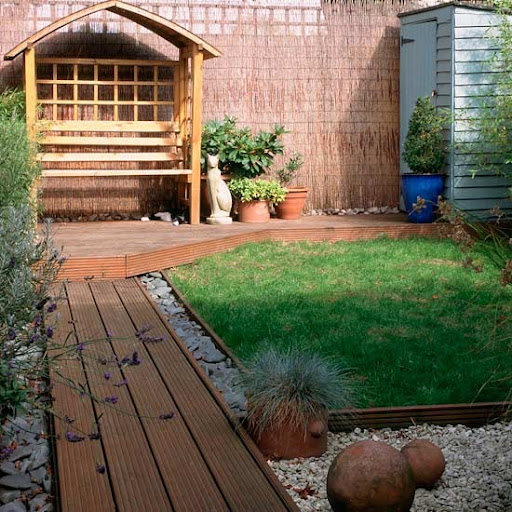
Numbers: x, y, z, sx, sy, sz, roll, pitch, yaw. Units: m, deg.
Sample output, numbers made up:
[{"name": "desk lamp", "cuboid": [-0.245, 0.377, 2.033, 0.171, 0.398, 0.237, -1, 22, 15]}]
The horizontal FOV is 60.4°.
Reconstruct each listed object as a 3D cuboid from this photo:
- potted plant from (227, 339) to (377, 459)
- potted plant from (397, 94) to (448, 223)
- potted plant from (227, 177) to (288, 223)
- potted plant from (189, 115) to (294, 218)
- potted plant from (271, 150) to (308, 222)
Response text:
[{"name": "potted plant", "cuboid": [0.195, 0.558, 1.774, 0.430, 0.396, 0.408, 1, -1, -9]}, {"name": "potted plant", "cuboid": [2.853, -1.586, 7.307, 0.820, 1.966, 0.809, -10, 15, -35]}, {"name": "potted plant", "cuboid": [-0.084, -0.923, 7.706, 1.016, 0.781, 1.147, 1, 14, 15]}, {"name": "potted plant", "cuboid": [-0.289, -1.689, 7.624, 1.367, 0.980, 1.211, -2, 8, -23]}, {"name": "potted plant", "cuboid": [0.534, -1.257, 7.935, 0.771, 1.207, 0.798, 3, 11, 25]}]
